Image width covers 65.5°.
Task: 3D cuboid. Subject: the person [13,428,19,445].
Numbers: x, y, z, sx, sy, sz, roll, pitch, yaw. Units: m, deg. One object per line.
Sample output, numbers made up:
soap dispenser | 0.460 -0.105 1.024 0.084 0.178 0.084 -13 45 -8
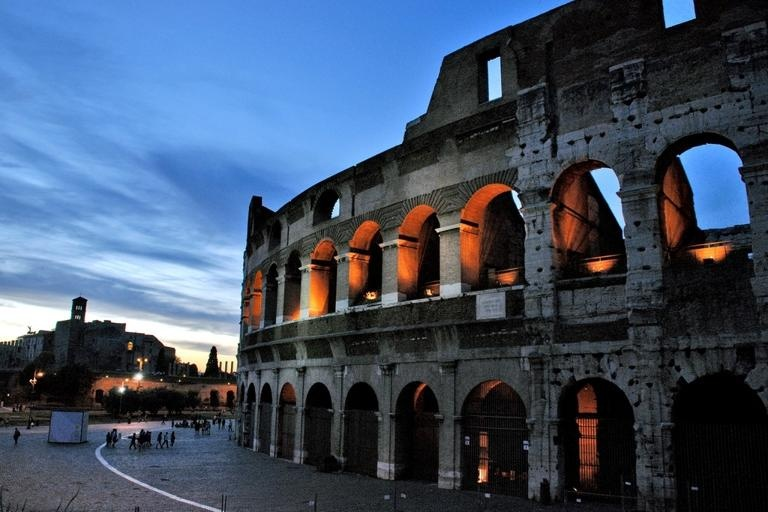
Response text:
person | -24.924 12.290 40.610 0.266 0.958 1.527 11 -19 -26
